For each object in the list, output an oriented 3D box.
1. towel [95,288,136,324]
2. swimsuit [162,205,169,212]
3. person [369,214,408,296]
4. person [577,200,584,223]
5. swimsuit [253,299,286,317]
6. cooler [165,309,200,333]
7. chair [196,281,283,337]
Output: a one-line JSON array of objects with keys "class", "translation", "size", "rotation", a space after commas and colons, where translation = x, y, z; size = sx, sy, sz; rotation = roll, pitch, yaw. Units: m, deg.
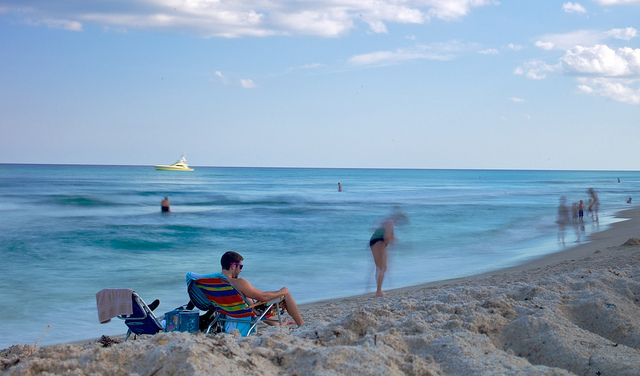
[{"class": "towel", "translation": [-4.599, 2.629, 14.269], "size": [0.222, 0.714, 1.123], "rotation": [-9, -13, 25]}, {"class": "swimsuit", "translation": [-9.604, 1.318, 39.957], "size": [0.343, 0.240, 0.347], "rotation": [0, 0, 1]}, {"class": "person", "translation": [1.903, 1.926, 18.355], "size": [0.830, 2.304, 0.945], "rotation": [0, 5, 21]}, {"class": "person", "translation": [13.280, 1.218, 32.774], "size": [0.210, 1.080, 0.839], "rotation": [0, 4, 21]}, {"class": "swimsuit", "translation": [-1.121, 2.765, 14.798], "size": [0.552, 0.405, 0.377], "rotation": [0, -9, -8]}, {"class": "cooler", "translation": [-3.086, 3.048, 14.523], "size": [0.460, 0.498, 0.789], "rotation": [-6, -15, 27]}, {"class": "chair", "translation": [-1.816, 2.788, 15.145], "size": [1.492, 1.240, 2.362], "rotation": [-3, -7, 28]}]
